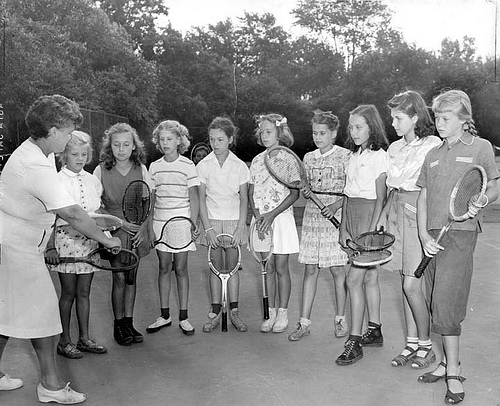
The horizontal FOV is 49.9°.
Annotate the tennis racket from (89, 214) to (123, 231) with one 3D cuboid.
[{"bbox_3d":[-1.140,0.152,4.256,0.227,0.079,0.127,-1,-2,-13],"label":"tennis racket"}]

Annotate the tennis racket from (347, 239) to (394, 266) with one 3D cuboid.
[{"bbox_3d":[0.934,0.402,4.135,0.230,0.099,0.244,-11,2,1],"label":"tennis racket"}]

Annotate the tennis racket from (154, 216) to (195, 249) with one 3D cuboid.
[{"bbox_3d":[-0.701,0.276,4.975,0.375,0.211,0.318,-1,-2,-12],"label":"tennis racket"}]

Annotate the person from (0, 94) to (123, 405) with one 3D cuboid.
[{"bbox_3d":[-1.335,0.312,3.541,0.608,2.115,0.382,-1,-1,-19],"label":"person"}]

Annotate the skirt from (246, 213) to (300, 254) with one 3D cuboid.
[{"bbox_3d":[0.243,0.407,5.127,0.461,0.489,0.360,0,-23,3],"label":"skirt"}]

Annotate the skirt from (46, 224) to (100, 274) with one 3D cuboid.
[{"bbox_3d":[-1.523,0.398,4.659,0.465,0.225,0.606,12,-2,34],"label":"skirt"}]

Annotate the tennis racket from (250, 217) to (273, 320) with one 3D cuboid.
[{"bbox_3d":[0.113,0.616,5.015,0.217,0.758,0.454,-2,-1,2],"label":"tennis racket"}]

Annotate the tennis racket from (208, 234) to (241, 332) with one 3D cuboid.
[{"bbox_3d":[-0.243,0.746,5.028,0.312,0.945,0.062,0,13,-5],"label":"tennis racket"}]

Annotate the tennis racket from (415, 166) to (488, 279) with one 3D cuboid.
[{"bbox_3d":[1.405,0.152,3.754,0.043,0.801,0.302,21,18,-27],"label":"tennis racket"}]

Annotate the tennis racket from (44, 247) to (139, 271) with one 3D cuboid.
[{"bbox_3d":[-1.304,0.434,4.544,0.682,0.332,0.053,2,-38,-13],"label":"tennis racket"}]

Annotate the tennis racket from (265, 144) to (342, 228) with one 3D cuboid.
[{"bbox_3d":[0.444,-0.250,4.985,0.374,1.167,0.105,-28,-27,-15],"label":"tennis racket"}]

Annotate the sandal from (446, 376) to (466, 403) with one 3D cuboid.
[{"bbox_3d":[1.384,1.283,3.623,0.072,0.267,0.099,-3,18,10],"label":"sandal"}]

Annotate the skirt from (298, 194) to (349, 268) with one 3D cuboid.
[{"bbox_3d":[0.666,0.271,4.929,0.452,0.552,0.333,-2,-1,7],"label":"skirt"}]
